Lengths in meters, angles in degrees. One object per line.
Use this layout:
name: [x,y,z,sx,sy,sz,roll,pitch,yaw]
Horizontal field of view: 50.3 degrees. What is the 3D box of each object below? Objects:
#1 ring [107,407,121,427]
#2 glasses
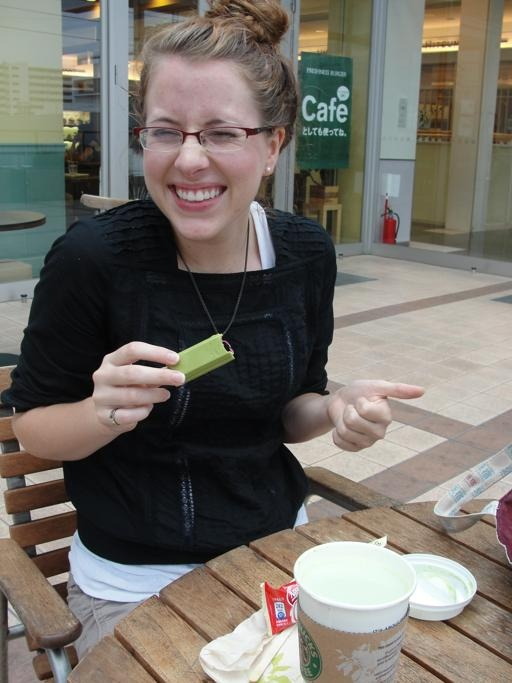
ring: [-0.214,0.115,0.821,0.016,0.025,0.021,-6,-5,21]
glasses: [-0.099,-0.367,0.983,0.235,0.055,0.078,-2,5,-4]
